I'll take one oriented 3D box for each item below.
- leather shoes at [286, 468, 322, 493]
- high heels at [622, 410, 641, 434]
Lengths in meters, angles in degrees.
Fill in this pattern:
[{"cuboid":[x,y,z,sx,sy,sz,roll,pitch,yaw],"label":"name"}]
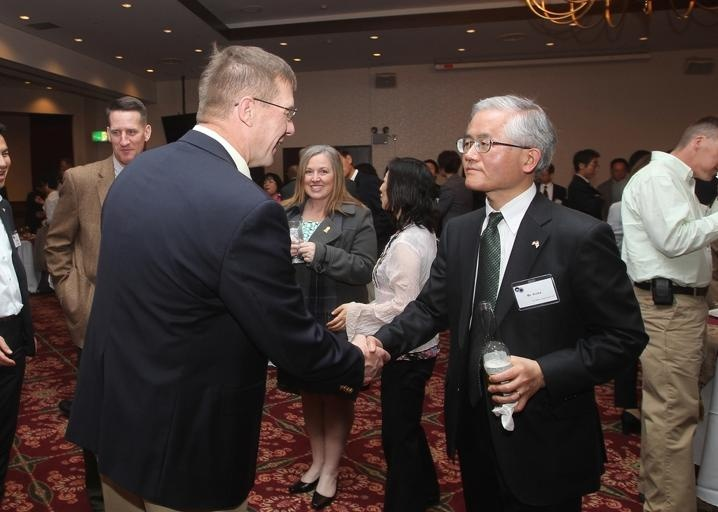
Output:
[{"cuboid":[-0.319,1.298,2.880,0.197,0.060,0.066,8,-11,-43],"label":"leather shoes"},{"cuboid":[1.932,1.181,3.569,0.080,0.115,0.267,-3,-2,25],"label":"high heels"}]
